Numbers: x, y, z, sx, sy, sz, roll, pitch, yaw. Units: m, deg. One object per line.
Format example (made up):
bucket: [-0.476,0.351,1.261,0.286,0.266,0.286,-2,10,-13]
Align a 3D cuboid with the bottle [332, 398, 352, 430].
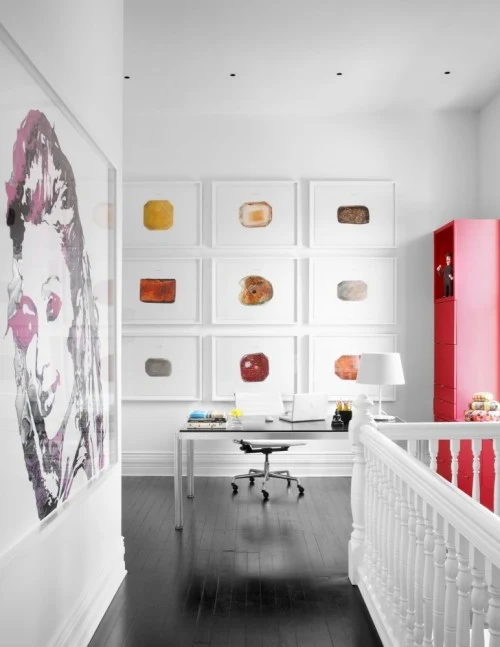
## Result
bottle: [0.696,0.698,4.037,0.113,0.146,0.200,1,2,5]

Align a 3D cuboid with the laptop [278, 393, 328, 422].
laptop: [0.404,0.642,4.178,0.295,0.202,0.211,3,-1,-28]

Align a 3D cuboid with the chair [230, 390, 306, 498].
chair: [0.150,1.126,4.772,0.615,0.729,0.628,5,-3,-22]

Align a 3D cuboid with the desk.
desk: [0.055,1.093,4.376,1.237,0.743,1.451,0,-1,-4]
